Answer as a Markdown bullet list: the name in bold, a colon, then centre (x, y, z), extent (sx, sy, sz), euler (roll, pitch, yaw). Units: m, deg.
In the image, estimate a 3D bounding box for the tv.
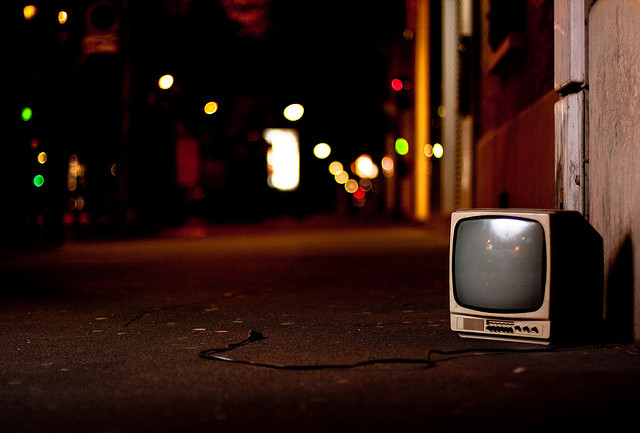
- **tv**: centre (1.880, 0.541, 6.417), extent (1.221, 1.214, 1.114), euler (6, -8, -43)
